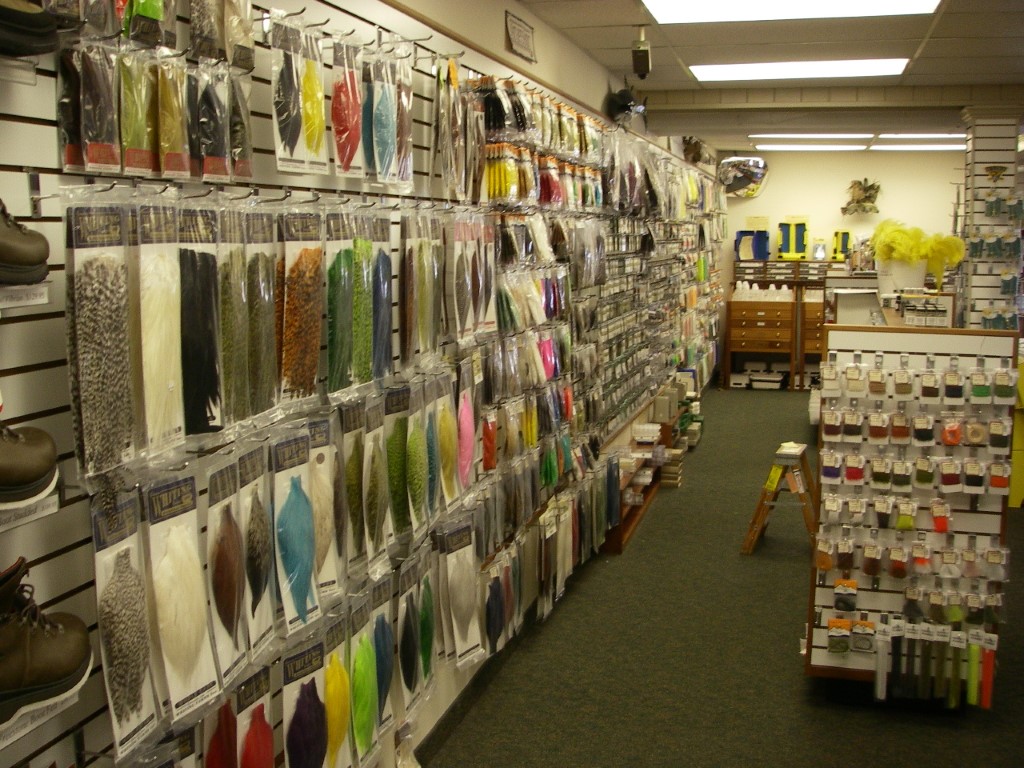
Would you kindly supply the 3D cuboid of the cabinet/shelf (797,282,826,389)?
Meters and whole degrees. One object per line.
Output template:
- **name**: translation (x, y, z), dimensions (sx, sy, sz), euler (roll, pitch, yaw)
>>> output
- **cabinet/shelf**: translation (5.094, -0.797, 12.845), dimensions (0.344, 1.712, 0.686), euler (3, 8, 25)

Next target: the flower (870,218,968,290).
- **flower**: translation (3.325, -1.065, 6.302), dimensions (0.657, 0.599, 0.491), euler (1, 9, 6)

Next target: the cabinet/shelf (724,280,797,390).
- **cabinet/shelf**: translation (4.342, -0.538, 13.245), dimensions (1.226, 2.179, 1.018), euler (0, -31, 19)

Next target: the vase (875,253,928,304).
- **vase**: translation (3.268, -0.919, 6.367), dimensions (0.326, 0.301, 0.305), euler (4, 7, 38)

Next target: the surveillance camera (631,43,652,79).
- **surveillance camera**: translation (0.946, -2.379, 5.507), dimensions (0.111, 0.209, 0.284), euler (2, 10, 14)
